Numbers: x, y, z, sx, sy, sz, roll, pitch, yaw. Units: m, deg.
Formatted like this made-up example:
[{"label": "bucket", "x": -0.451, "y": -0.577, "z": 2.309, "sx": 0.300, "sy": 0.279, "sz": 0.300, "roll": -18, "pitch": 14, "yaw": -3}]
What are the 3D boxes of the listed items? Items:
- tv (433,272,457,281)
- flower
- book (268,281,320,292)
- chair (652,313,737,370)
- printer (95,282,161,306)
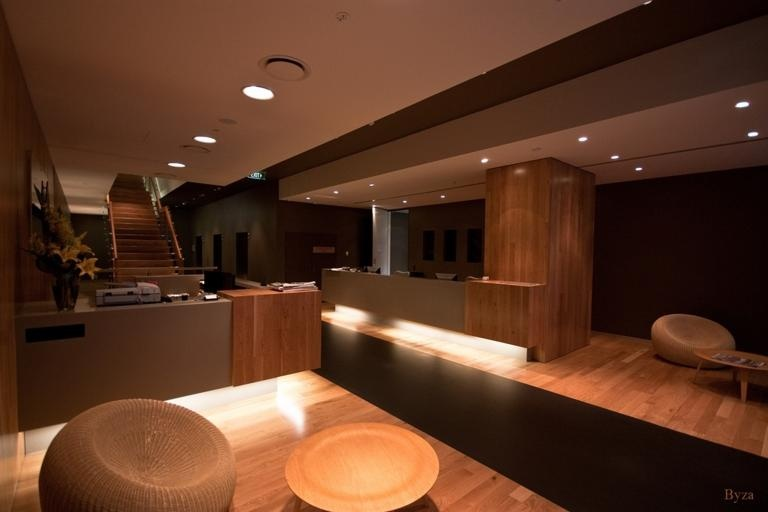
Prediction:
[{"label": "tv", "x": 1.256, "y": 0.429, "z": 9.744, "sx": 0.376, "sy": 0.145, "sz": 0.807, "roll": 0, "pitch": 7, "yaw": 2}, {"label": "flower", "x": -4.233, "y": -0.221, "z": 6.413, "sx": 0.684, "sy": 1.561, "sz": 1.977, "roll": -5, "pitch": 8, "yaw": -34}, {"label": "book", "x": -1.354, "y": 0.427, "z": 7.110, "sx": 0.496, "sy": 0.105, "sz": 0.676, "roll": 6, "pitch": 9, "yaw": 43}, {"label": "chair", "x": 5.061, "y": 1.330, "z": 8.083, "sx": 0.890, "sy": 0.553, "sz": 0.924, "roll": -2, "pitch": -2, "yaw": 0}, {"label": "printer", "x": -3.192, "y": 0.478, "z": 6.080, "sx": 0.493, "sy": 0.199, "sz": 0.388, "roll": 0, "pitch": 1, "yaw": -38}]
